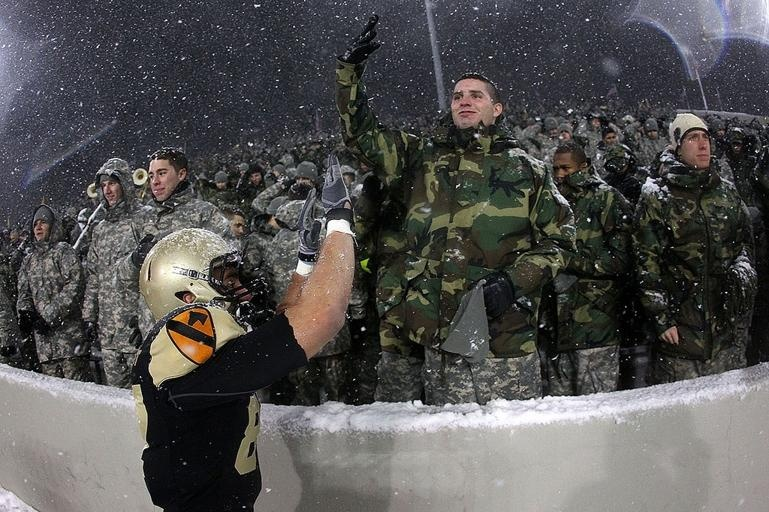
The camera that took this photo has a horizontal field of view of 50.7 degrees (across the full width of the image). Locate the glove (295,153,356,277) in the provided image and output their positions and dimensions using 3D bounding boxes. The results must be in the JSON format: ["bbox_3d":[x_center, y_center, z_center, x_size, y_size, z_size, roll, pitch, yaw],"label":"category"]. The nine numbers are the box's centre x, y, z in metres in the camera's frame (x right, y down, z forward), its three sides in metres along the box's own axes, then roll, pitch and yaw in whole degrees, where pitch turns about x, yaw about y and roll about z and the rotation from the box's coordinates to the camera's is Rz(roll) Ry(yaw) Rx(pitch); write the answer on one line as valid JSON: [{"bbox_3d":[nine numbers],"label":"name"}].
[{"bbox_3d":[-0.351,-0.230,4.649,0.428,0.656,0.264,14,9,37],"label":"glove"}]

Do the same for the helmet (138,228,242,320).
[{"bbox_3d":[-1.090,0.094,4.730,0.568,0.474,0.437,-19,5,-9],"label":"helmet"}]

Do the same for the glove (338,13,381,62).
[{"bbox_3d":[-0.163,-1.423,5.367,0.301,0.283,0.187,-7,8,11],"label":"glove"}]

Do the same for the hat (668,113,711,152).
[{"bbox_3d":[2.211,-0.944,6.029,0.201,0.192,0.201,-26,15,-23],"label":"hat"}]

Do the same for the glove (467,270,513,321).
[{"bbox_3d":[0.742,0.247,5.307,0.235,0.268,0.149,-9,7,-3],"label":"glove"}]
